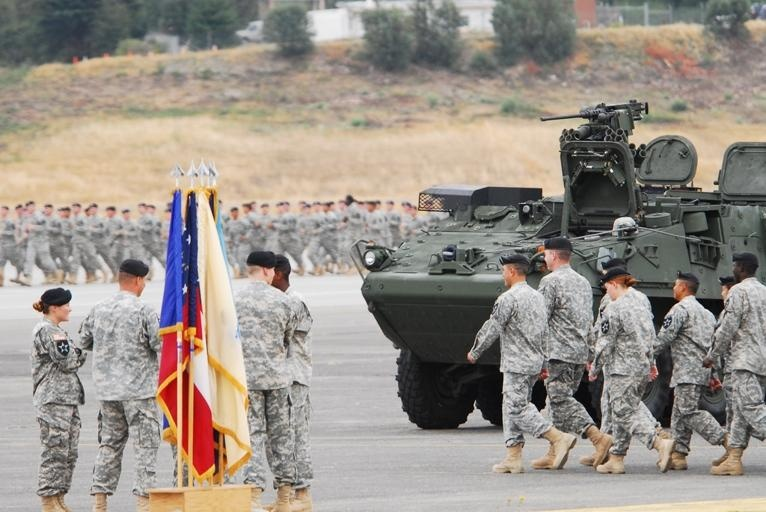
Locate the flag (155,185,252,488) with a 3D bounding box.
[{"bbox_3d":[-2.636,1.135,25.759,1.328,3.987,1.353,1,-6,14],"label":"flag"}]

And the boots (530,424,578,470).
[{"bbox_3d":[2.614,2.824,27.233,0.660,0.674,0.415,-2,8,1],"label":"boots"}]

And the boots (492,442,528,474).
[{"bbox_3d":[1.962,3.032,27.113,0.607,0.515,0.296,3,-3,30],"label":"boots"}]
